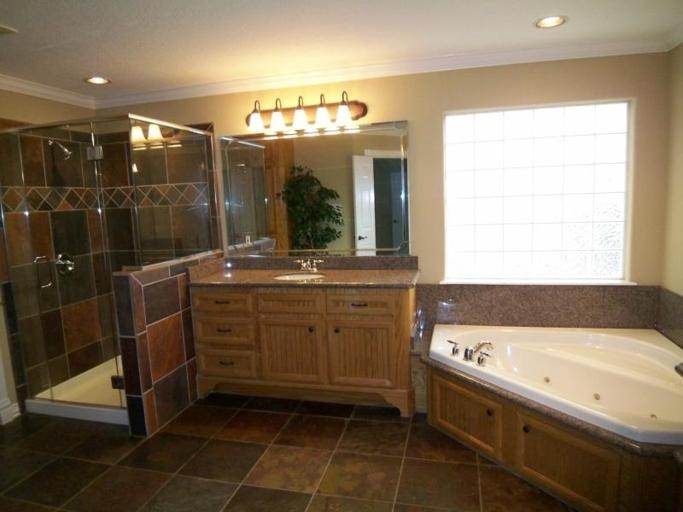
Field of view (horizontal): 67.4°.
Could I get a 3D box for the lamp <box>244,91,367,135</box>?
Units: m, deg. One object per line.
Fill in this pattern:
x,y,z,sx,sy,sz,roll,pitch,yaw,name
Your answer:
-0.377,-1.264,4.635,1.040,0.342,0.191,-6,3,-10,lamp

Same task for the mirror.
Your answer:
-0.253,-0.573,4.708,1.684,1.230,0.055,-1,-4,7,mirror
